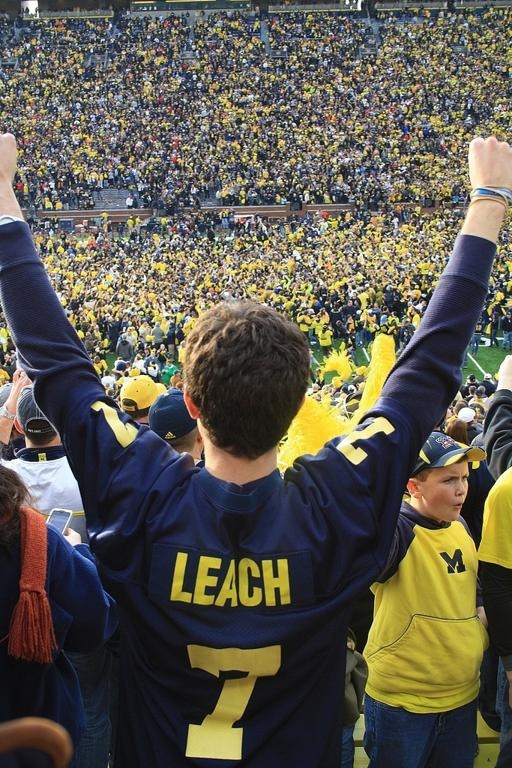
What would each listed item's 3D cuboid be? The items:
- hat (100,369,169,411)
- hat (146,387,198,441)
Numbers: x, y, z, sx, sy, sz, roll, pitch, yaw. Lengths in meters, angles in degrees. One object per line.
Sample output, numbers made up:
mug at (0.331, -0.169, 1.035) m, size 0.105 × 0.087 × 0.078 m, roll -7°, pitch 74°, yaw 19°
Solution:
hat at (-0.854, 0.014, 6.851) m, size 0.292 × 0.217 × 0.444 m, roll 4°, pitch 27°, yaw 21°
hat at (-0.334, 0.132, 4.075) m, size 0.169 × 0.125 × 0.228 m, roll -9°, pitch 37°, yaw 14°
